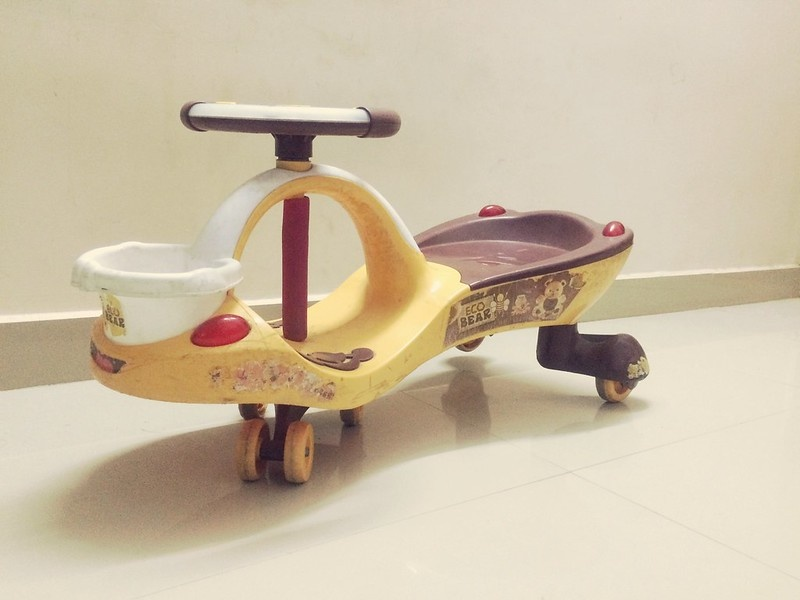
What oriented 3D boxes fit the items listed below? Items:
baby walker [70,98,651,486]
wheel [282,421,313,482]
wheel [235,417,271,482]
[{"bbox_3d":[-0.054,-0.078,2.021,1.304,0.608,0.663,-12,23,-43],"label":"baby walker"},{"bbox_3d":[-0.179,0.267,1.745,0.040,0.100,0.112,1,5,11],"label":"wheel"},{"bbox_3d":[-0.256,0.267,1.752,0.048,0.118,0.114,7,3,0],"label":"wheel"}]
